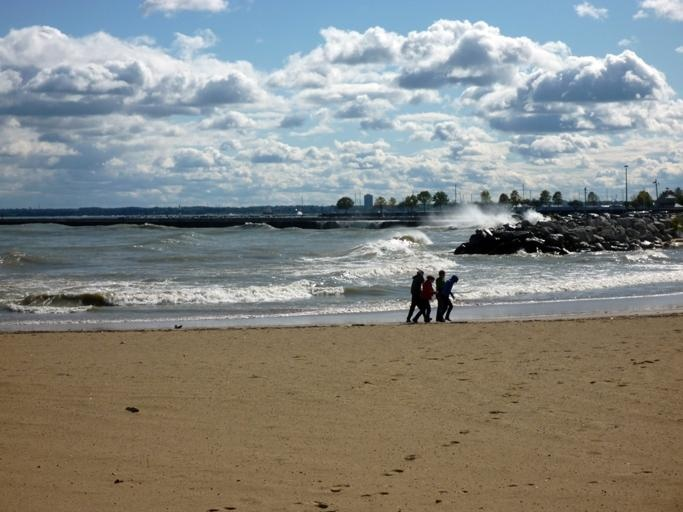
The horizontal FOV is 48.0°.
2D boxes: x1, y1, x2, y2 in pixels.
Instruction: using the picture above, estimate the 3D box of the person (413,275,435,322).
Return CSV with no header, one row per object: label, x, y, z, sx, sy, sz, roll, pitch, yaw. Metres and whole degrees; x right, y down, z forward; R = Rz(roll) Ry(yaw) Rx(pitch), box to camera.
person,2.092,1.103,19.558,0.477,1.180,1.570,4,3,6
